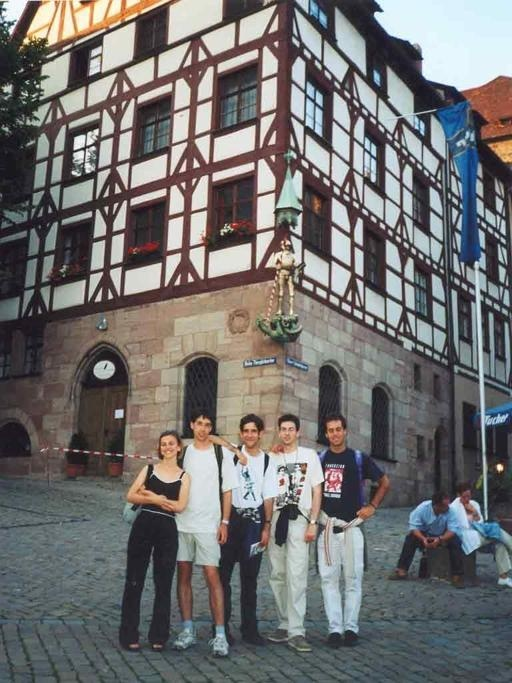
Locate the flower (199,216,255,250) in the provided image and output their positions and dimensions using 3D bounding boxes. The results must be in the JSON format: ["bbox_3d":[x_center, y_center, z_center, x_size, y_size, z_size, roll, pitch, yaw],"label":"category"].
[{"bbox_3d":[-0.828,-2.604,15.999,0.488,0.849,2.072,10,-12,-43],"label":"flower"}]

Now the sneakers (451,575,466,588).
[{"bbox_3d":[2.339,2.751,7.222,0.128,0.105,0.261,-1,-14,14],"label":"sneakers"}]

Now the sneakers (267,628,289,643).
[{"bbox_3d":[0.146,2.017,4.310,0.145,0.073,0.121,2,-13,4],"label":"sneakers"}]

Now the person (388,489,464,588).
[{"bbox_3d":[2.269,2.471,7.834,0.712,1.082,0.913,-2,-14,39],"label":"person"}]

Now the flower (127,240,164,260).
[{"bbox_3d":[-3.098,-2.469,17.273,0.682,0.314,0.550,-4,3,17],"label":"flower"}]

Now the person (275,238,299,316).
[{"bbox_3d":[0.686,-1.488,14.485,0.571,1.956,0.839,2,-13,3],"label":"person"}]

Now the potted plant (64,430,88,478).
[{"bbox_3d":[-5.037,3.143,17.478,0.626,1.319,0.441,6,-13,-17],"label":"potted plant"}]

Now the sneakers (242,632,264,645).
[{"bbox_3d":[-0.022,1.989,4.218,0.146,0.067,0.092,3,-13,-2],"label":"sneakers"}]

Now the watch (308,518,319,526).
[{"bbox_3d":[0.401,1.248,4.339,0.052,0.036,0.053,-12,-20,35],"label":"watch"}]

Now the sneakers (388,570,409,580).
[{"bbox_3d":[1.735,2.808,7.581,0.180,0.110,0.358,-4,-15,26],"label":"sneakers"}]

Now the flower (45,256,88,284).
[{"bbox_3d":[-5.620,-2.150,18.844,1.406,0.754,0.294,-3,-14,23],"label":"flower"}]

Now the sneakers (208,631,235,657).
[{"bbox_3d":[-0.218,1.875,3.899,0.103,0.160,0.331,-2,-28,-3],"label":"sneakers"}]

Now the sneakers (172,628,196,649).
[{"bbox_3d":[-0.464,1.866,3.951,0.062,0.090,0.186,-3,-19,10],"label":"sneakers"}]

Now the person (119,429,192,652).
[{"bbox_3d":[-0.644,1.237,4.003,0.391,1.344,0.389,4,-13,-8],"label":"person"}]

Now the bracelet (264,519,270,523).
[{"bbox_3d":[0.076,1.256,4.406,0.021,0.021,0.022,7,-2,-11],"label":"bracelet"}]

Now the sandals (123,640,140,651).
[{"bbox_3d":[-0.753,1.830,3.781,0.094,0.041,0.086,6,-14,-15],"label":"sandals"}]

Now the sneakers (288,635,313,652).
[{"bbox_3d":[0.282,1.959,4.102,0.127,0.084,0.250,7,-14,-17],"label":"sneakers"}]

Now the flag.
[{"bbox_3d":[5.373,-4.219,16.378,0.828,4.636,0.942,-3,-14,23],"label":"flag"}]
